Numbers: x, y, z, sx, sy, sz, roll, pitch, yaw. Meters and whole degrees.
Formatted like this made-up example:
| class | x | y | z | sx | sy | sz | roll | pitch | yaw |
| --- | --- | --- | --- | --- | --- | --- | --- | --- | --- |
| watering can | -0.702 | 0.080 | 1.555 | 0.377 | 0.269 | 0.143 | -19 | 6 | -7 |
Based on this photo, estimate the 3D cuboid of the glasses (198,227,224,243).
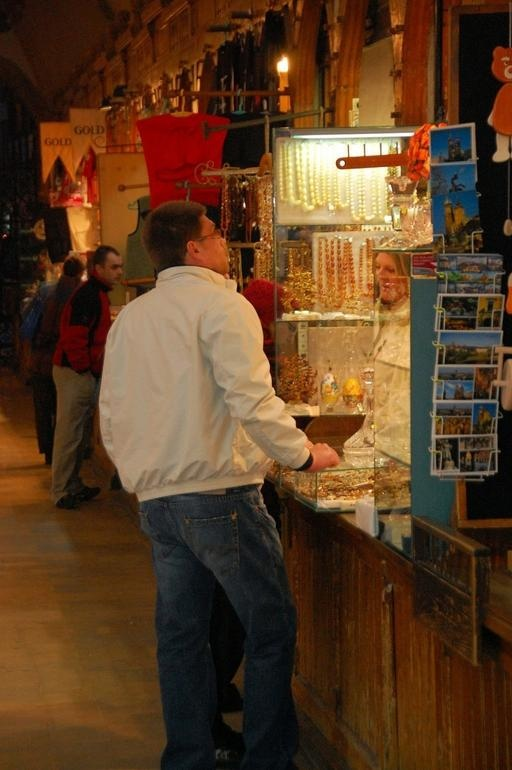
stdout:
| class | x | y | z | sx | sy | sz | roll | pitch | yaw |
| --- | --- | --- | --- | --- | --- | --- | --- | --- | --- |
| glasses | -0.135 | -0.420 | 2.018 | 0.082 | 0.022 | 0.079 | -3 | 7 | 28 |

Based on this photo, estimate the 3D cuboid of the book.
| class | x | y | z | sx | sy | sz | roll | pitch | yaw |
| --- | --- | --- | --- | --- | --- | --- | --- | --- | --- |
| book | 0.410 | -0.037 | 1.416 | 0.127 | 0.429 | 0.053 | 1 | 6 | 6 |

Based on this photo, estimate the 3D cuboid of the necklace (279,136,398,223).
| class | x | y | z | sx | sy | sz | roll | pitch | yaw |
| --- | --- | --- | --- | --- | --- | --- | --- | --- | --- |
| necklace | 0.254 | -0.679 | 2.409 | 0.376 | 0.281 | 0.060 | 0 | 6 | 0 |

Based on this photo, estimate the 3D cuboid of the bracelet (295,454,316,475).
| class | x | y | z | sx | sy | sz | roll | pitch | yaw |
| --- | --- | --- | --- | --- | --- | --- | --- | --- | --- |
| bracelet | 0.128 | 0.202 | 1.854 | 0.021 | 0.049 | 0.038 | 25 | -10 | -32 |
